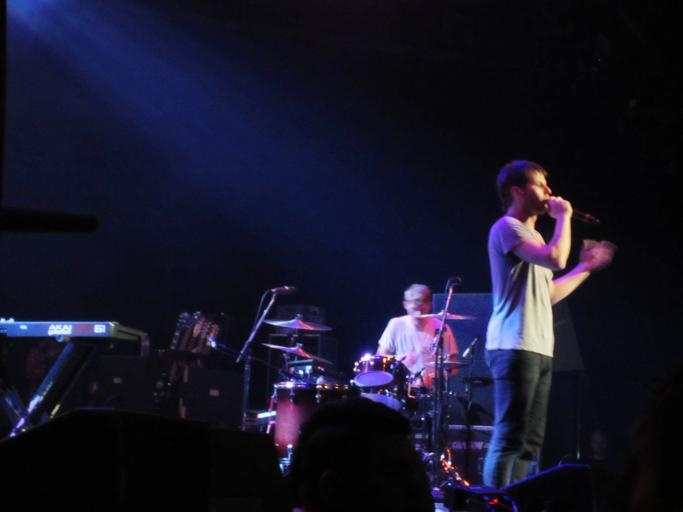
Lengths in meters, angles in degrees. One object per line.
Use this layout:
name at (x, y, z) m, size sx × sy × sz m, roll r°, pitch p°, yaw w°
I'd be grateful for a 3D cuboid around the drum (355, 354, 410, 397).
drum at (0.419, 1.198, 6.587) m, size 0.429 × 0.159 × 0.429 m, roll 10°, pitch -37°, yaw 8°

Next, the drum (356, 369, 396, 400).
drum at (0.338, 1.230, 6.660) m, size 0.389 × 0.440 × 0.406 m, roll 0°, pitch -2°, yaw 15°

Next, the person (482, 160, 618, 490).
person at (1.395, 0.582, 4.490) m, size 0.806 × 2.407 × 0.672 m, roll 8°, pitch -9°, yaw -30°

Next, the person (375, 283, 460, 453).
person at (0.792, 0.935, 7.106) m, size 1.082 × 1.512 × 0.910 m, roll -2°, pitch -32°, yaw 11°
